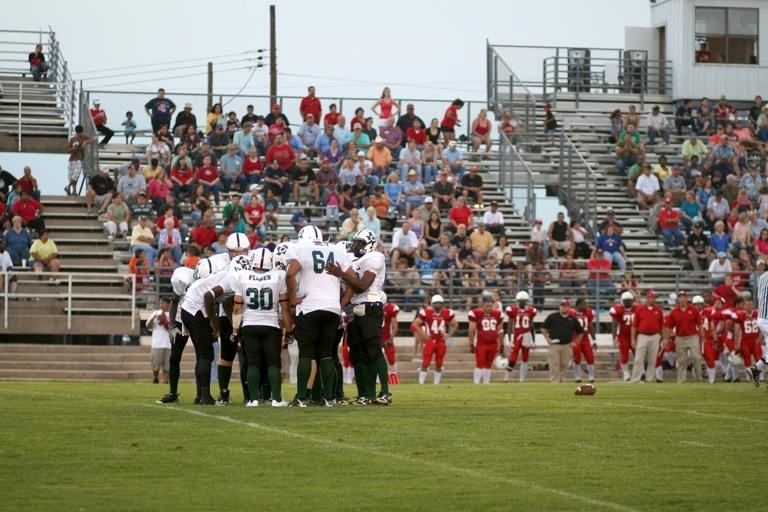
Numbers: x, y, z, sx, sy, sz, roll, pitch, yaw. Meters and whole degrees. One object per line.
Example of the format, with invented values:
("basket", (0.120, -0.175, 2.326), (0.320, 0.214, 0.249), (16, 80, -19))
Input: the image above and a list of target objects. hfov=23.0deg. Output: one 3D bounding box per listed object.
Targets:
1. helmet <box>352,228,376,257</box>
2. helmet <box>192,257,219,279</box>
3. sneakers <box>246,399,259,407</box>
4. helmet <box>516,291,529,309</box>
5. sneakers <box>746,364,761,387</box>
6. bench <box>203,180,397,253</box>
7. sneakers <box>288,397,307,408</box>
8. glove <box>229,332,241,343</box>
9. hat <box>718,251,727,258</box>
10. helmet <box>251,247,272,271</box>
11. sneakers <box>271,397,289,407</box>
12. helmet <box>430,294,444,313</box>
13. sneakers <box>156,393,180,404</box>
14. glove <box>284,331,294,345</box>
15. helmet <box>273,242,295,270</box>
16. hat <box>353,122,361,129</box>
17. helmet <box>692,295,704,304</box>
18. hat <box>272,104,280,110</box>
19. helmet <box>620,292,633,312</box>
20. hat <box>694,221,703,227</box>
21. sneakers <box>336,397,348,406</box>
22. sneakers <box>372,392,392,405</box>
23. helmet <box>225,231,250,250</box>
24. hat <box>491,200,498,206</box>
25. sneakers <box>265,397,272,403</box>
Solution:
("helmet", (-0.408, -0.327, 38.600), (0.480, 0.568, 0.452), (-2, -2, -4))
("helmet", (-3.624, 0.207, 38.679), (0.470, 0.425, 0.366), (-1, -28, 39))
("sneakers", (-2.677, 2.887, 38.425), (0.106, 0.124, 0.284), (-2, -2, -34))
("helmet", (3.375, 0.967, 46.082), (0.286, 0.343, 0.380), (1, -2, 2))
("sneakers", (8.382, 2.591, 42.821), (0.237, 0.522, 0.174), (-17, 18, 11))
("bench", (-2.173, -1.084, 49.513), (4.488, 1.921, 3.101), (-1, -2, -6))
("sneakers", (-1.740, 2.853, 38.229), (0.356, 0.162, 0.143), (1, 12, -6))
("glove", (-3.033, 1.558, 38.363), (0.224, 0.223, 0.139), (9, 1, 3))
("hat", (8.868, -0.124, 49.487), (0.211, 0.153, 0.367), (-2, -2, 13))
("helmet", (-2.478, -0.010, 38.169), (0.332, 0.380, 0.465), (0, 18, -6))
("sneakers", (-2.088, 2.848, 38.285), (0.379, 0.165, 0.140), (0, 15, -5))
("helmet", (1.294, 1.050, 45.771), (0.277, 0.383, 0.614), (-2, -2, 0))
("sneakers", (-4.471, 2.838, 39.109), (0.492, 0.197, 0.176), (5, 4, -9))
("glove", (-1.928, 1.572, 38.383), (0.191, 0.250, 0.224), (-5, 9, -2))
("helmet", (-1.991, -0.081, 38.269), (0.417, 0.557, 0.644), (0, -2, -40))
("hat", (-0.745, -3.695, 52.986), (0.223, 0.131, 0.344), (3, -1, -2))
("helmet", (7.694, 0.961, 46.352), (0.204, 0.225, 0.274), (-2, -17, -3))
("hat", (-3.048, -4.263, 53.432), (0.242, 0.177, 0.393), (2, 5, -5))
("helmet", (5.995, 0.992, 46.389), (0.281, 0.422, 0.546), (-2, -2, 4))
("hat", (8.399, -0.934, 50.384), (0.236, 0.159, 0.366), (-2, -2, 10))
("sneakers", (-0.865, 2.880, 38.811), (0.301, 0.139, 0.103), (14, 47, 19))
("sneakers", (-0.028, 2.835, 39.021), (0.414, 0.192, 0.162), (10, -6, -40))
("helmet", (-2.973, -0.365, 38.538), (0.312, 0.341, 0.408), (-3, 13, -8))
("hat", (2.961, -1.458, 50.318), (0.130, 0.136, 0.176), (0, 46, -1))
("sneakers", (-2.361, 2.855, 38.793), (0.184, 0.080, 0.061), (-5, -3, 44))
